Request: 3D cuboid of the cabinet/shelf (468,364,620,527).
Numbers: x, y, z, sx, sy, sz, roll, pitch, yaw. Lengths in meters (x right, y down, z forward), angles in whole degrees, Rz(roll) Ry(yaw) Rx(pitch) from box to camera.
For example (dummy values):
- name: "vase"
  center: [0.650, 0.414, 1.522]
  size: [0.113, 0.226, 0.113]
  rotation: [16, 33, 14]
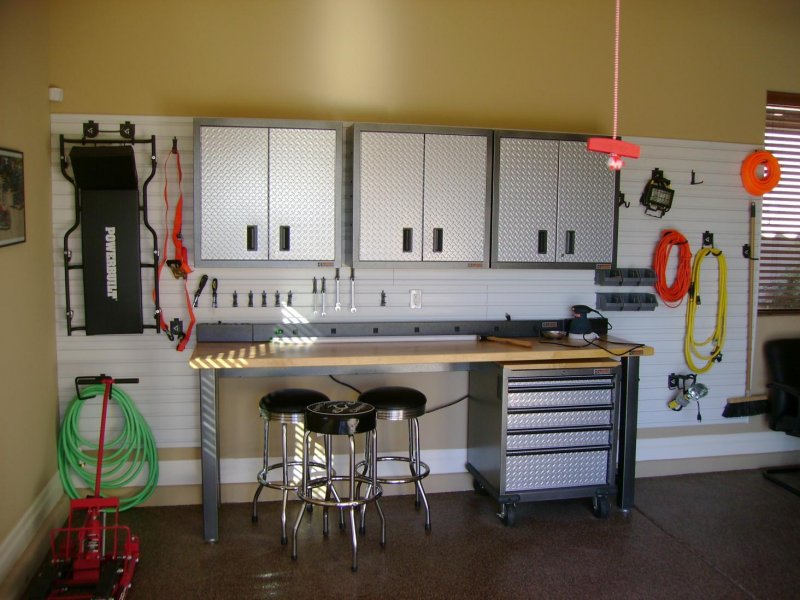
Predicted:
- name: "cabinet/shelf"
  center: [0.947, 1.089, 5.995]
  size: [1.070, 1.602, 1.228]
  rotation: [-1, 2, -5]

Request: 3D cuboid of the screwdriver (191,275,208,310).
- name: "screwdriver"
  center: [-1.667, -0.077, 5.725]
  size: [0.074, 0.351, 0.083]
  rotation: [14, 0, -3]
